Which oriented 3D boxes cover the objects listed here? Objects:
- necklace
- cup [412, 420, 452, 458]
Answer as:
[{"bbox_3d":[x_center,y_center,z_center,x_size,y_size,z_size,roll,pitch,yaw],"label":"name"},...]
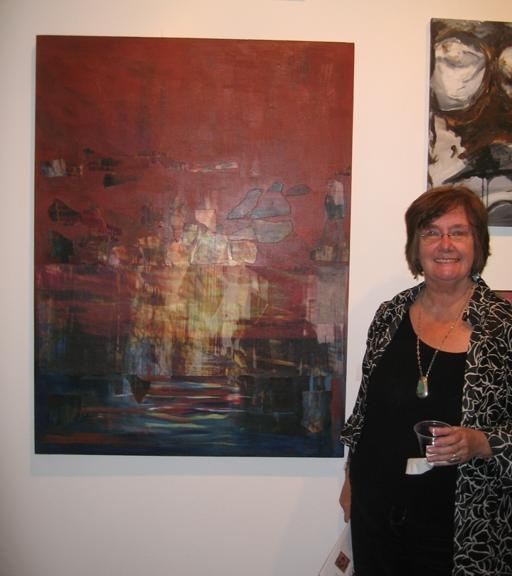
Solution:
[{"bbox_3d":[0.561,0.158,2.138,0.129,0.382,0.016,16,-6,24],"label":"necklace"},{"bbox_3d":[0.496,0.424,1.978,0.110,0.076,0.099,1,-1,2],"label":"cup"}]
